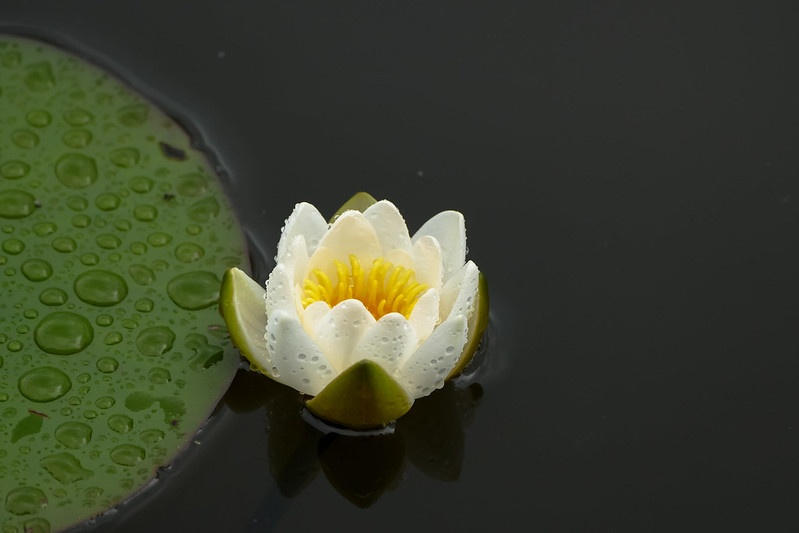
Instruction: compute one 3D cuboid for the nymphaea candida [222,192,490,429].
[{"bbox_3d":[-0.189,0.137,2.338,0.789,0.891,0.512,-11,-61,-3],"label":"nymphaea candida"}]
